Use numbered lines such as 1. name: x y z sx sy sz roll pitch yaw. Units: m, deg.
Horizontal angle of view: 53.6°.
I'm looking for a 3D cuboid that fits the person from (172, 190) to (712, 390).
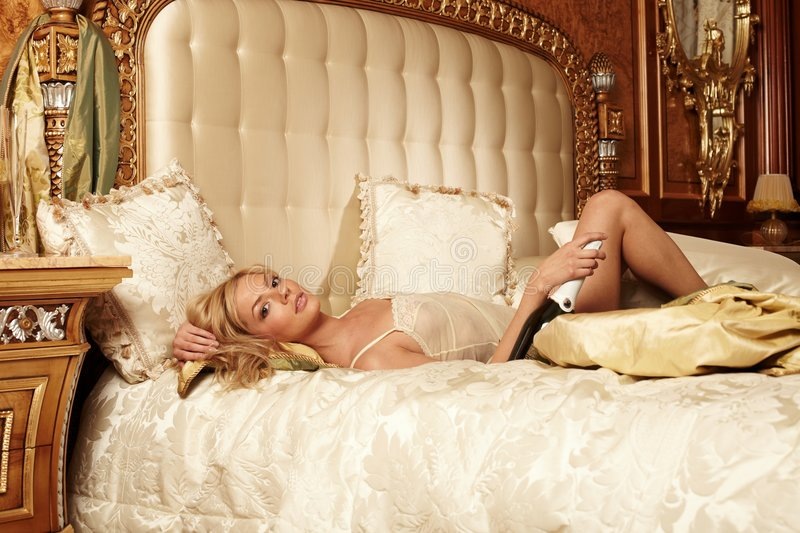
1. person: 0.145 0.133 2.716 1.542 0.511 0.746 -4 11 -4
